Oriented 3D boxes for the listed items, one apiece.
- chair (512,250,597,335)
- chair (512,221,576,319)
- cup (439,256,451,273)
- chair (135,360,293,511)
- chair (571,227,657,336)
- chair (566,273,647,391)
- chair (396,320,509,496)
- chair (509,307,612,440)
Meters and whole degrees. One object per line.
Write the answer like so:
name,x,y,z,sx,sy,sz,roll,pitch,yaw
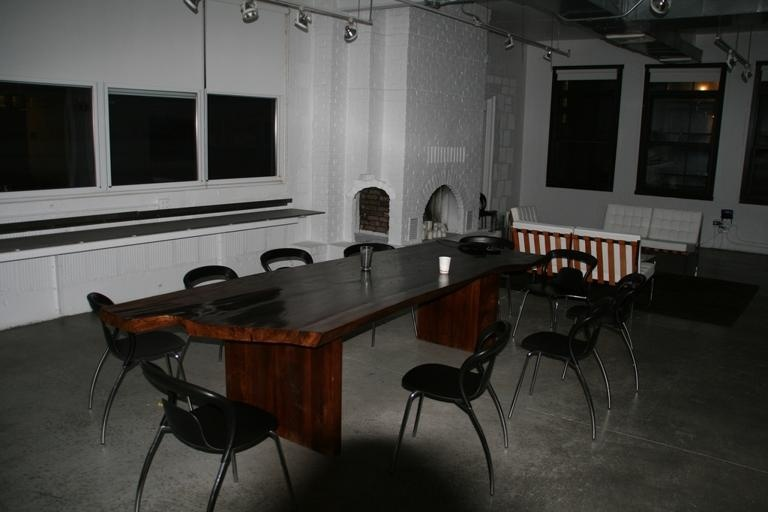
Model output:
chair,2.157,0.452,6.377,0.814,1.164,0.778,-8,16,-40
chair,2.467,0.072,7.831,1.033,1.319,1.103,6,7,41
cup,0.609,0.083,5.131,0.138,0.167,0.144,1,14,0
chair,-1.231,1.381,3.785,0.616,1.022,0.758,20,27,32
chair,3.224,0.157,7.180,0.967,0.970,0.799,11,23,37
chair,2.427,0.864,5.560,0.663,1.046,0.722,14,29,34
chair,0.605,1.357,4.403,0.951,1.265,0.802,8,19,22
chair,1.753,1.203,5.029,0.773,1.112,0.739,11,21,30
